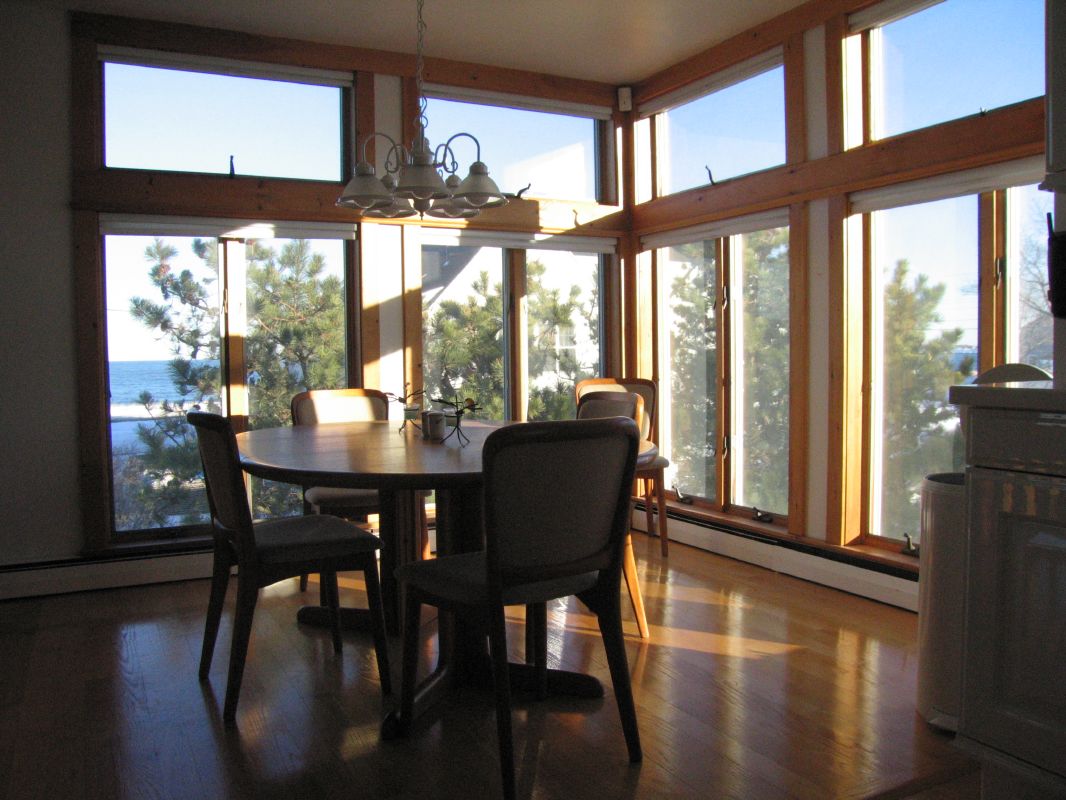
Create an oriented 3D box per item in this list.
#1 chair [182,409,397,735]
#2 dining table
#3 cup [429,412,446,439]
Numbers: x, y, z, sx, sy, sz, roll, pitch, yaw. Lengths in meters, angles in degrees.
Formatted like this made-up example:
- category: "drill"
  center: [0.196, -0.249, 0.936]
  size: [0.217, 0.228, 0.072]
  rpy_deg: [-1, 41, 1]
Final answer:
- category: "chair"
  center: [-1.035, 0.602, 4.122]
  size: [1.110, 1.894, 1.029]
  rpy_deg: [-1, 2, -23]
- category: "dining table"
  center: [-0.595, 0.543, 3.755]
  size: [1.281, 0.809, 1.279]
  rpy_deg: [-1, -3, 8]
- category: "cup"
  center: [-0.442, 0.122, 4.177]
  size: [0.095, 0.180, 0.099]
  rpy_deg: [-1, 2, 0]
